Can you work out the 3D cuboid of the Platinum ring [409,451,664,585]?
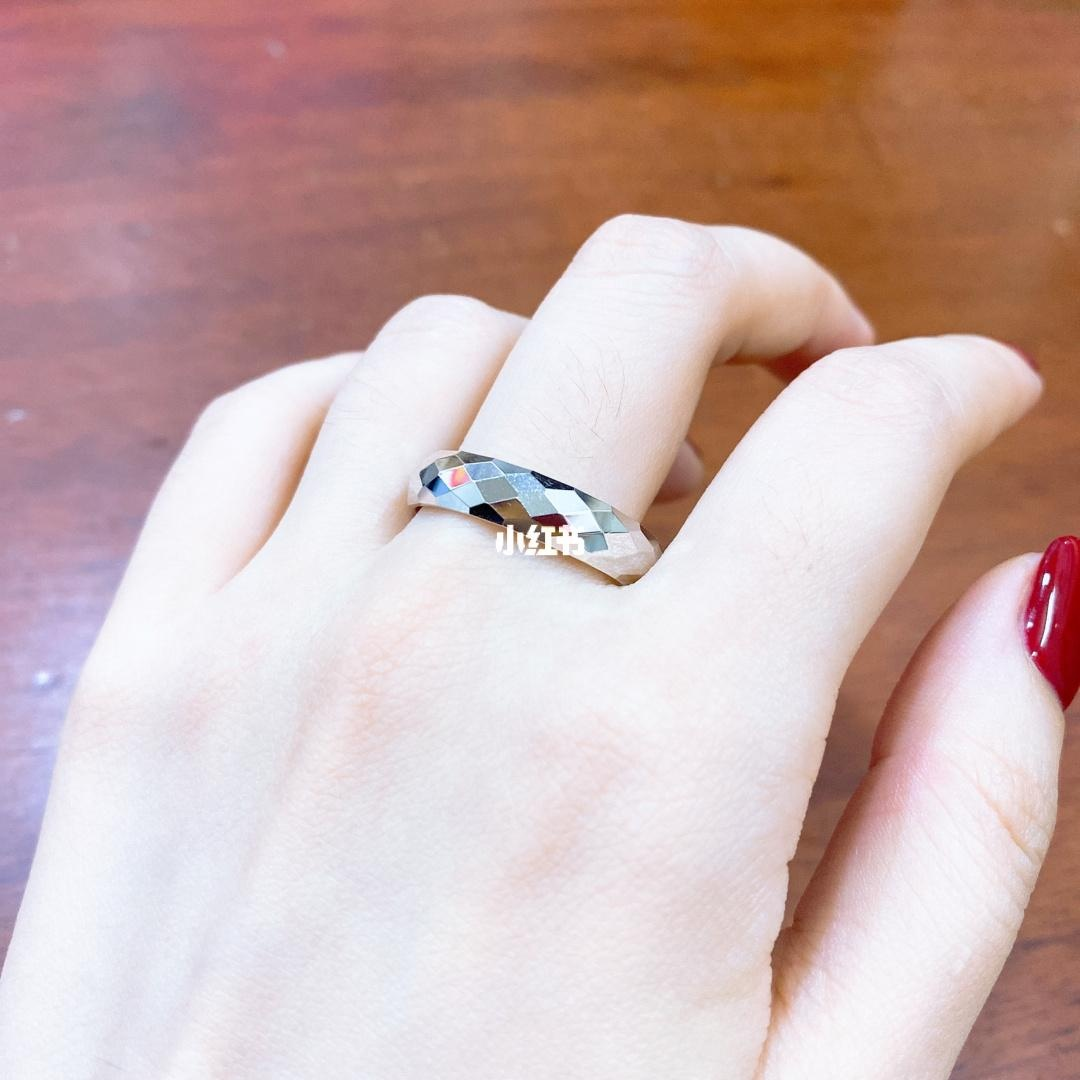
[{"bbox_3d":[-0.002,-0.014,0.741,0.103,0.085,0.034,23,89,-14],"label":"Platinum ring"}]
